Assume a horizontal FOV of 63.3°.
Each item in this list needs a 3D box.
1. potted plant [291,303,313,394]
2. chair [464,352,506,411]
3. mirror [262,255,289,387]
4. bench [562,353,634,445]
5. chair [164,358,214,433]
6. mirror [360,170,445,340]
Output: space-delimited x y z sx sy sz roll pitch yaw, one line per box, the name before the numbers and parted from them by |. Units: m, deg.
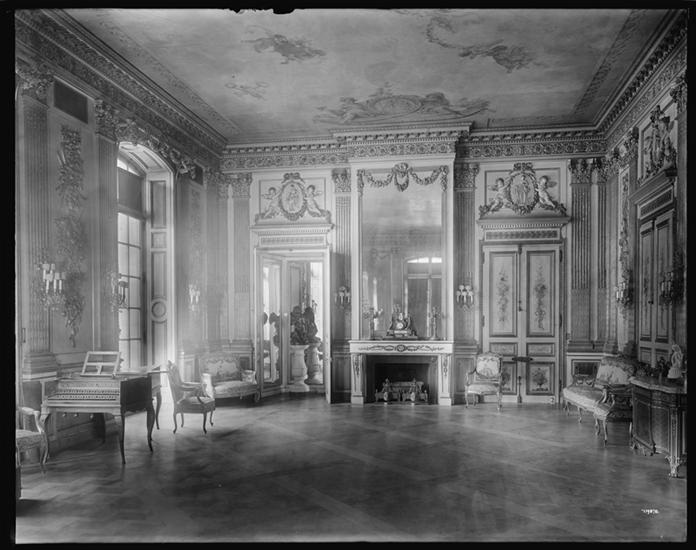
potted plant | -0.963 1.480 11.719 0.514 1.606 0.371 2 -6 -15
chair | 2.366 1.844 9.806 0.629 0.944 0.565 -1 -9 20
mirror | -1.487 0.980 11.550 0.401 2.862 0.656 2 0 0
bench | 3.713 1.769 8.369 0.982 1.154 2.260 -2 -8 21
chair | -2.269 1.752 8.223 0.597 1.014 0.650 -2 -4 -4
mirror | 1.064 -0.101 11.159 1.799 4.043 0.335 0 17 10
